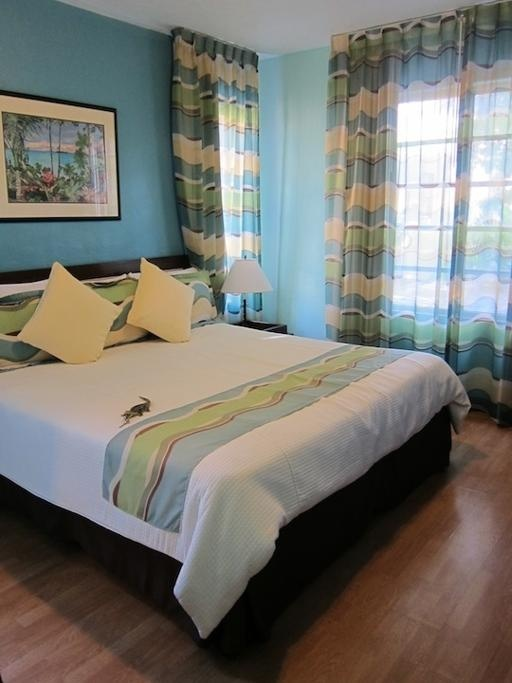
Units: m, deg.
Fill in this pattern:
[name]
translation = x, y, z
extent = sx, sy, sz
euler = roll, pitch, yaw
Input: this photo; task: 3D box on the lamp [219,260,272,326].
[lamp]
translation = -0.029, -0.381, 3.675
extent = 0.392, 0.679, 0.406
euler = -2, 18, 3
